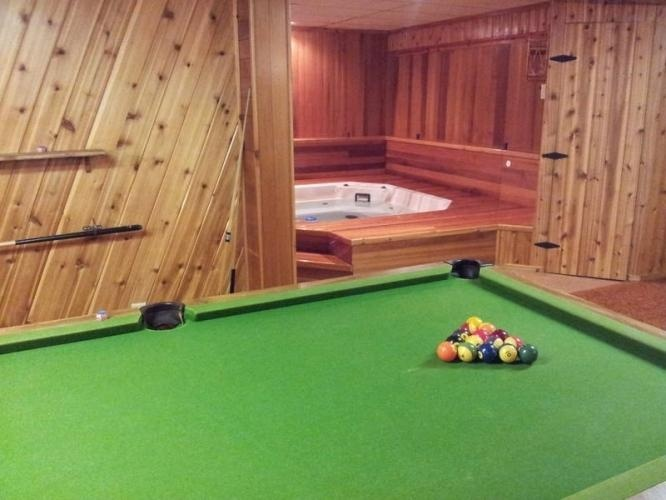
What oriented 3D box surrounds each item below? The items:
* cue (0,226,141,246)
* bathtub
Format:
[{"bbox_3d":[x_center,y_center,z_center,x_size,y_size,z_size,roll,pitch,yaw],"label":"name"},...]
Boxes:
[{"bbox_3d":[-1.713,-0.097,3.232,0.904,0.086,0.082,-4,-6,-18],"label":"cue"},{"bbox_3d":[0.318,-0.610,5.966,1.538,0.386,1.067,2,1,-5],"label":"bathtub"}]
